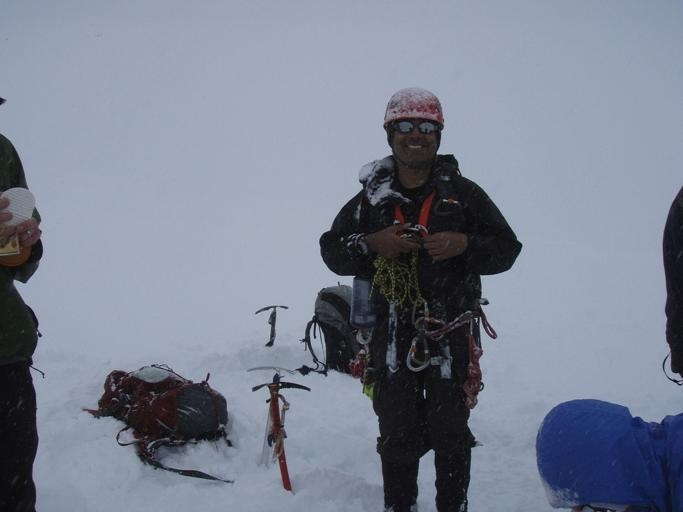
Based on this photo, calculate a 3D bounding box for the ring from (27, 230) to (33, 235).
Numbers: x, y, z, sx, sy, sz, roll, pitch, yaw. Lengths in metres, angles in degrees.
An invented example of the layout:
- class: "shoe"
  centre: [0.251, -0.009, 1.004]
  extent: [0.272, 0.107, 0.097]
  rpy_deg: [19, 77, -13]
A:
- class: "ring"
  centre: [-2.281, -0.179, 6.542]
  extent: [0.027, 0.027, 0.007]
  rpy_deg: [18, 17, -4]
